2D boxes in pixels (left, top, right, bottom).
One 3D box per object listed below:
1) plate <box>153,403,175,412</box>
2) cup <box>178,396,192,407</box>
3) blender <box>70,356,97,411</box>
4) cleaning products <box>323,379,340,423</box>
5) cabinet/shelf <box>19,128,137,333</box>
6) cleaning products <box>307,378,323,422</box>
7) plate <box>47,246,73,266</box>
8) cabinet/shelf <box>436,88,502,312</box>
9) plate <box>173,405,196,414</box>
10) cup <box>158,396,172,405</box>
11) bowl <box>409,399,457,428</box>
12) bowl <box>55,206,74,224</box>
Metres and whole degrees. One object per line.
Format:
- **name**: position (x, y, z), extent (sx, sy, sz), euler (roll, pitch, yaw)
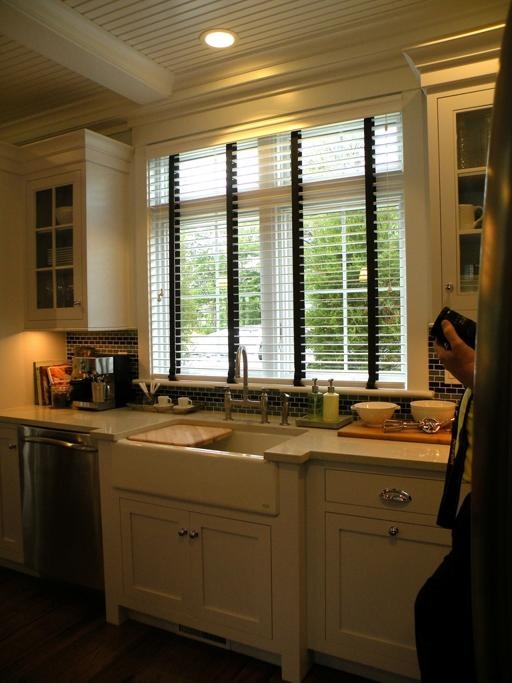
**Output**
- **plate**: position (-0.511, 0.367, 3.104), extent (0.111, 0.045, 0.069), euler (-1, -1, -9)
- **cup**: position (-0.384, 0.325, 3.039), extent (0.062, 0.044, 0.051), euler (3, 1, 8)
- **blender**: position (-0.961, 0.230, 3.240), extent (0.172, 0.293, 0.199), euler (-2, 4, -5)
- **cleaning products**: position (0.335, 0.267, 2.549), extent (0.067, 0.185, 0.202), euler (-1, -1, 5)
- **cabinet/shelf**: position (-1.014, -0.607, 3.178), extent (0.627, 1.083, 0.509), euler (-1, -2, -15)
- **cleaning products**: position (0.273, 0.264, 2.562), extent (0.061, 0.183, 0.113), euler (-1, -1, 5)
- **plate**: position (-1.102, -0.474, 3.159), extent (0.218, 0.113, 0.013), euler (-2, -2, 34)
- **cabinet/shelf**: position (0.766, -0.503, 2.046), extent (0.185, 0.814, 0.075), euler (-2, -2, 23)
- **plate**: position (-0.382, 0.367, 3.014), extent (0.120, 0.042, 0.105), euler (-1, -1, -9)
- **cup**: position (-0.504, 0.332, 3.134), extent (0.066, 0.056, 0.054), euler (8, -11, -38)
- **bowl**: position (0.719, 0.278, 2.297), extent (0.133, 0.071, 0.141), euler (0, -4, 0)
- **bowl**: position (-1.068, -0.704, 3.135), extent (0.102, 0.079, 0.104), euler (1, 3, 0)
